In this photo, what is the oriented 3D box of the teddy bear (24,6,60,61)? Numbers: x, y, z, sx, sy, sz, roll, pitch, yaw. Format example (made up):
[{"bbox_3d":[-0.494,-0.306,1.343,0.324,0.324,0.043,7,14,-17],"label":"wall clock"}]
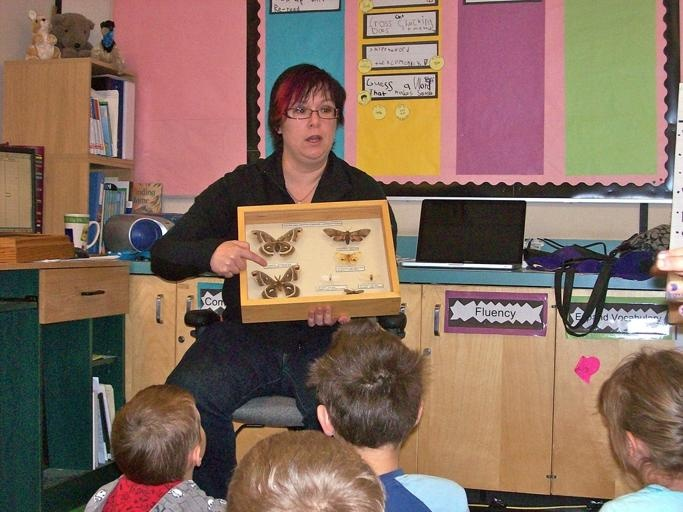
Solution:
[{"bbox_3d":[-1.514,-1.113,3.138,0.174,0.248,0.176,15,17,36],"label":"teddy bear"}]

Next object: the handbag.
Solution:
[{"bbox_3d":[1.008,0.049,2.452,0.483,0.150,0.665,4,32,21],"label":"handbag"}]

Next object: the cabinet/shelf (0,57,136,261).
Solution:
[{"bbox_3d":[-1.422,-0.563,3.250,0.566,0.882,0.332,3,2,8],"label":"cabinet/shelf"}]

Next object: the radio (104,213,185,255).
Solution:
[{"bbox_3d":[-0.956,-0.125,2.990,0.253,0.138,0.335,9,8,38],"label":"radio"}]

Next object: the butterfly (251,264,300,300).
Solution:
[{"bbox_3d":[-0.211,0.085,1.962,0.117,0.087,0.011,-11,-36,-17],"label":"butterfly"}]

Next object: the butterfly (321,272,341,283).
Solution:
[{"bbox_3d":[-0.033,0.071,1.999,0.072,0.027,0.020,3,2,-2],"label":"butterfly"}]

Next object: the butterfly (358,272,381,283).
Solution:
[{"bbox_3d":[0.098,0.066,1.996,0.049,0.036,0.017,3,-31,1],"label":"butterfly"}]

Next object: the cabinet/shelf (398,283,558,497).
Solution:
[{"bbox_3d":[0.703,0.606,2.763,0.661,0.905,0.513,-6,-32,26],"label":"cabinet/shelf"}]

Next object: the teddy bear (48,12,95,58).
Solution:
[{"bbox_3d":[-1.405,-1.147,3.222,0.206,0.244,0.166,-10,29,-38],"label":"teddy bear"}]

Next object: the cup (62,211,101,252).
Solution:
[{"bbox_3d":[-1.224,-0.101,2.923,0.188,0.186,0.113,-3,-3,-23],"label":"cup"}]
